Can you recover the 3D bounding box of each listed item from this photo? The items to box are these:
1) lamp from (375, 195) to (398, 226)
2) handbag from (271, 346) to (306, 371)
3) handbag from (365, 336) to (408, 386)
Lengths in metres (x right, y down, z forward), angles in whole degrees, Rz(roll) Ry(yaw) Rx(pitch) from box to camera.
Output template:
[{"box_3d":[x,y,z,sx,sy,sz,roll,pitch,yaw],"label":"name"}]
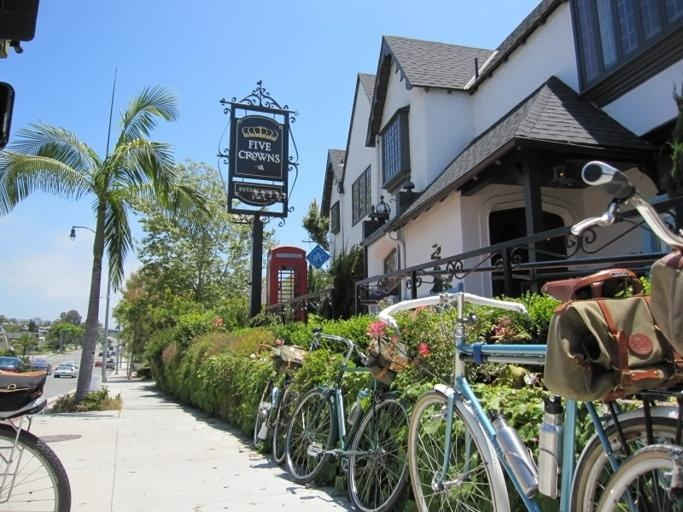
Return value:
[{"box_3d":[1.219,-1.417,16.168,0.524,0.936,1.240,0,-10,2],"label":"lamp"},{"box_3d":[-0.747,1.389,7.058,0.321,0.192,0.475,11,-18,-27],"label":"handbag"},{"box_3d":[0.371,0.860,4.527,0.287,0.468,0.435,4,-37,17],"label":"handbag"}]
